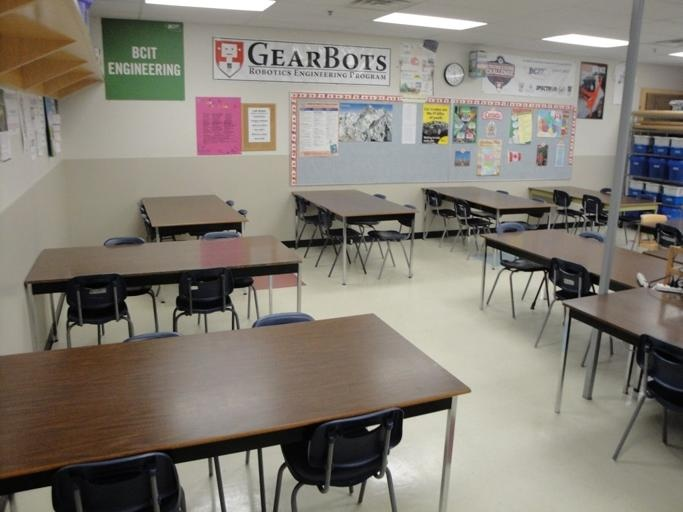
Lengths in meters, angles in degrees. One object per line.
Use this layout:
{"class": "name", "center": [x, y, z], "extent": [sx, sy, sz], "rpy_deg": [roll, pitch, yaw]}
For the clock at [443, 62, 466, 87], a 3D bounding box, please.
{"class": "clock", "center": [1.952, -3.206, 9.131], "extent": [0.344, 0.366, 0.046], "rpy_deg": [-17, 14, -20]}
